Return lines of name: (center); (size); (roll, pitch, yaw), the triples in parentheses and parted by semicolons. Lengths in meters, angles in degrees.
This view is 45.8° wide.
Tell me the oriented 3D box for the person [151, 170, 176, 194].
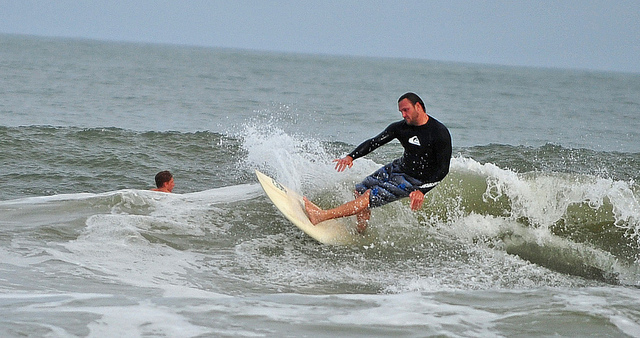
person: (-5.214, 0.497, 25.089); (0.543, 0.765, 0.719); (4, 19, 0)
